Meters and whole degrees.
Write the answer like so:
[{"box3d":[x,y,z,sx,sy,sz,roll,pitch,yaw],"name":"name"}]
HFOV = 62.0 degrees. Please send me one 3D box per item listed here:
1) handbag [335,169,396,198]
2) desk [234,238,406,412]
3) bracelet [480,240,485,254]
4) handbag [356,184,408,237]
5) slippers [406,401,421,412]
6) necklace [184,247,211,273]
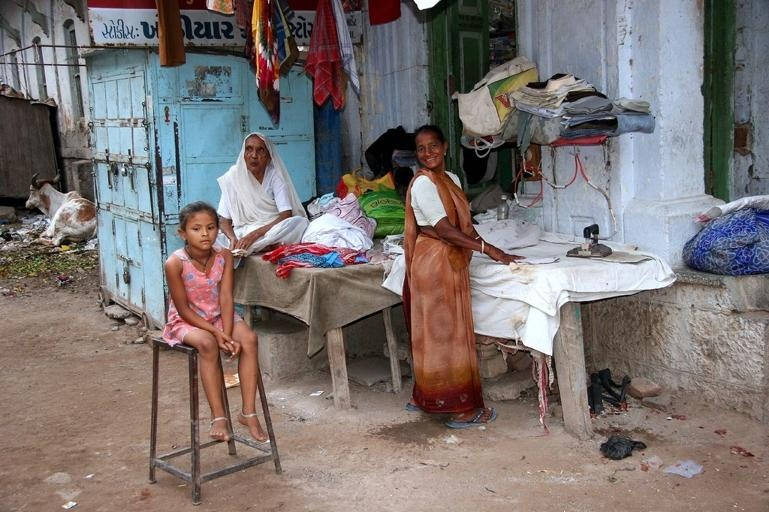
[{"box3d":[-0.241,-0.885,7.919,0.512,0.211,0.441,2,8,36],"name":"handbag"},{"box3d":[-0.593,0.379,6.527,1.391,1.255,1.867,-8,14,-32],"name":"desk"},{"box3d":[0.859,-0.080,5.531,0.035,0.099,0.041,0,4,-7],"name":"bracelet"},{"box3d":[-0.020,-0.514,7.517,0.520,0.550,0.633,-5,11,-1],"name":"handbag"},{"box3d":[0.275,1.455,6.221,0.171,0.120,0.059,2,4,26],"name":"slippers"},{"box3d":[-1.476,0.028,5.029,0.152,0.225,0.237,1,5,-17],"name":"necklace"}]
